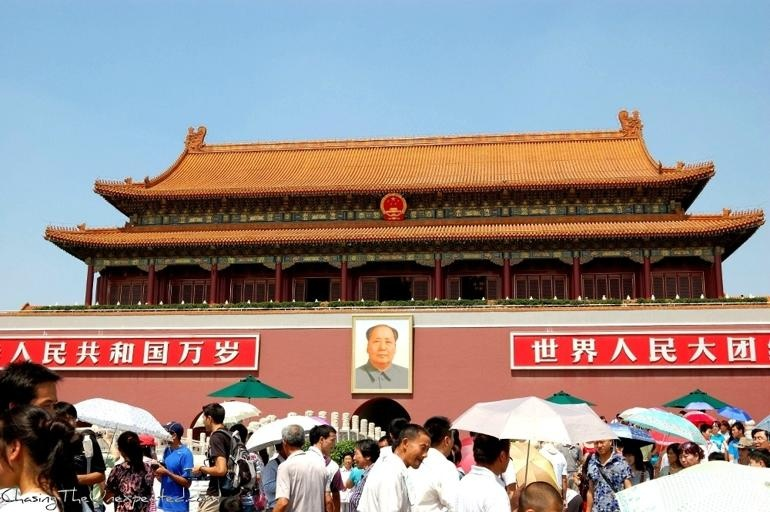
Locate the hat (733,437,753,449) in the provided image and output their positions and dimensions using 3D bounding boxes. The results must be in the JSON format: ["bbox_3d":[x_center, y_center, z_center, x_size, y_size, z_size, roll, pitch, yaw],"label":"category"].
[{"bbox_3d":[7.403,3.921,24.180,0.464,0.163,0.325,6,-14,-31],"label":"hat"}]

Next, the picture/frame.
[{"bbox_3d":[-0.073,3.036,34.713,2.353,2.870,0.211,-1,-19,2],"label":"picture/frame"}]
